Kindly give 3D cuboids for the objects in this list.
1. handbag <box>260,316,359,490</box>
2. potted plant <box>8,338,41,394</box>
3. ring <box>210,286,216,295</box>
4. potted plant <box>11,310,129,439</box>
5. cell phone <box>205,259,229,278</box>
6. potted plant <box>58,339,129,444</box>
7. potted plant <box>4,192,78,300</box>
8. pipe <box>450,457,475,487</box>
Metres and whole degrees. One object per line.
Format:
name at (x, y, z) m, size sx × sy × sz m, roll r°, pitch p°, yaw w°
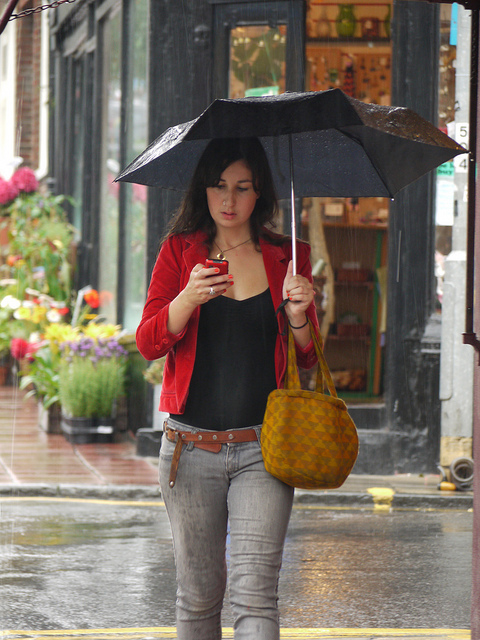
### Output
handbag at (0.309, 0.364, 6.643) m, size 0.383 × 0.864 × 0.237 m, roll 4°, pitch -26°, yaw -12°
potted plant at (-1.704, 0.382, 12.000) m, size 0.282 × 0.654 × 0.234 m, roll 0°, pitch 5°, yaw 0°
ring at (-0.114, -0.129, 6.494) m, size 0.020 × 0.025 × 0.019 m, roll -5°, pitch -7°, yaw -1°
potted plant at (-1.452, 0.396, 12.395) m, size 0.906 × 1.058 × 0.777 m, roll 0°, pitch -4°, yaw -36°
cell phone at (-0.100, -0.222, 6.553) m, size 0.094 × 0.072 × 0.138 m, roll 0°, pitch 8°, yaw -3°
potted plant at (-1.225, 0.576, 12.426) m, size 0.639 × 1.063 × 0.657 m, roll 1°, pitch -10°, yaw -10°
potted plant at (-1.926, -0.720, 14.825) m, size 0.698 × 1.000 × 0.669 m, roll -3°, pitch 8°, yaw -31°
pipe at (1.583, 1.075, 10.848) m, size 0.156 × 0.178 × 0.223 m, roll 2°, pitch 8°, yaw 12°
